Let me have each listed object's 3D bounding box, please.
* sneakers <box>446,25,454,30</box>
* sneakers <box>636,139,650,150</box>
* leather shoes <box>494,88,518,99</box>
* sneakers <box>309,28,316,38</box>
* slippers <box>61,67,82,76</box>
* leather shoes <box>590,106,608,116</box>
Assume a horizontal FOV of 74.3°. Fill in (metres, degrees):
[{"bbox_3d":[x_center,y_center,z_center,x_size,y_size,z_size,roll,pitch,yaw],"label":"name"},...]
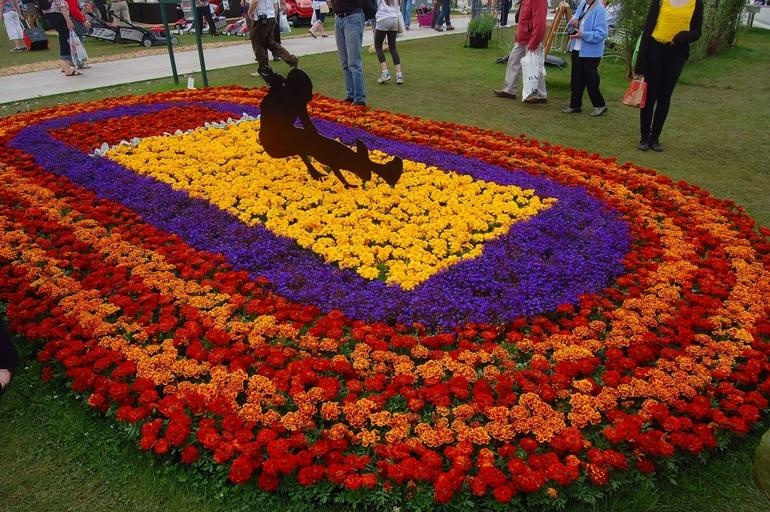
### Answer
[{"bbox_3d":[2.673,-9.396,21.100,0.204,0.237,0.578,-18,15,8],"label":"sneakers"},{"bbox_3d":[3.802,-1.641,7.547,0.086,0.161,0.239,5,32,14],"label":"sneakers"},{"bbox_3d":[2.392,-3.243,10.277,0.480,0.191,0.161,12,68,6],"label":"leather shoes"},{"bbox_3d":[-2.651,-8.006,18.259,0.225,0.193,0.523,-9,54,-26],"label":"sneakers"},{"bbox_3d":[-7.380,-4.356,11.935,0.382,0.184,0.645,-17,33,-26],"label":"slippers"},{"bbox_3d":[3.815,-2.585,9.111,0.139,0.155,0.363,9,41,36],"label":"leather shoes"}]
